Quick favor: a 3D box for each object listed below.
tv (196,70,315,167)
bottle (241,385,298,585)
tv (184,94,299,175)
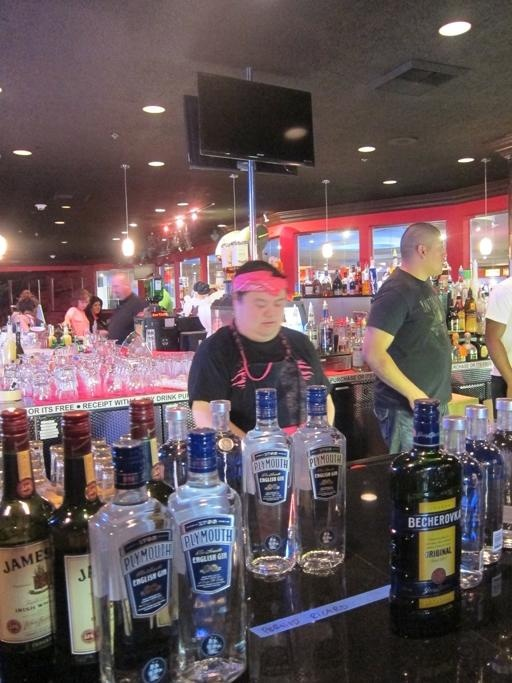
[{"bbox_3d":[0.018,-1.251,3.291,0.749,0.485,0.135,1,3,-36],"label":"tv"},{"bbox_3d":[0.024,0.211,0.874,0.096,0.284,0.077,3,2,-3],"label":"bottle"},{"bbox_3d":[-0.071,-1.196,3.295,0.755,0.424,0.093,3,-30,-18],"label":"tv"}]
